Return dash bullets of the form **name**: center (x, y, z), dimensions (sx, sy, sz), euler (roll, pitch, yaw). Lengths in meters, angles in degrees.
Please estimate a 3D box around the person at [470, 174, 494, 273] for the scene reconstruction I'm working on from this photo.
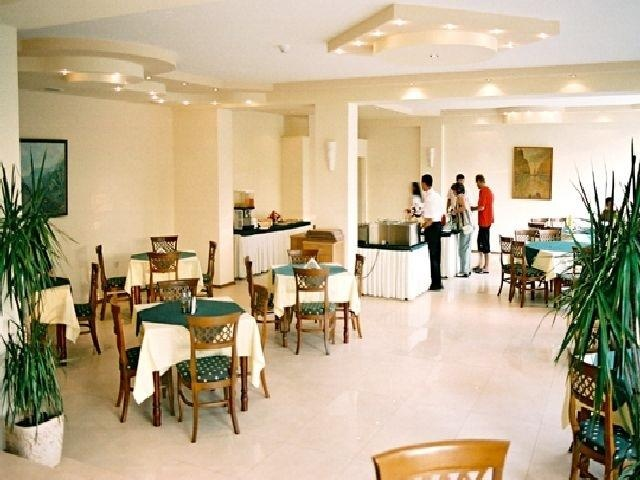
- **person**: center (3.839, -0.404, 12.165), dimensions (0.427, 2.264, 1.348), euler (2, 8, 16)

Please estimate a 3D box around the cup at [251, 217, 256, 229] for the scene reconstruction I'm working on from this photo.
- **cup**: center (-1.599, -0.420, 12.171), dimensions (0.137, 0.223, 0.295), euler (-1, 8, -8)

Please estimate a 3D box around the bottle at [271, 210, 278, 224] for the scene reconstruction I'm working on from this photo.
- **bottle**: center (-1.198, -0.584, 13.103), dimensions (0.229, 0.292, 0.619), euler (-1, 8, -6)

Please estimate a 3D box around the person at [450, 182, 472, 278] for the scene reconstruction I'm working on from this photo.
- **person**: center (3.080, -0.229, 11.275), dimensions (0.481, 2.122, 0.578), euler (2, 8, 15)

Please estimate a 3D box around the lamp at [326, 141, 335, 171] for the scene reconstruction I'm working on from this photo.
- **lamp**: center (0.204, -1.513, 9.298), dimensions (0.173, 0.525, 0.055), euler (-1, 8, -3)

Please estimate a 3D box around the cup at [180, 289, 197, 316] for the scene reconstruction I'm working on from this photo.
- **cup**: center (-1.444, 0.662, 5.493), dimensions (0.183, 0.272, 0.230), euler (3, 9, 10)

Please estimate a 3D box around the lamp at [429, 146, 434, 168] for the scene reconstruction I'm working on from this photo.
- **lamp**: center (2.993, -2.232, 13.811), dimensions (0.115, 0.515, 0.183), euler (7, 11, 43)

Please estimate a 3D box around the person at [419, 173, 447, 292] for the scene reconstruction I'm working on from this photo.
- **person**: center (2.224, -0.152, 10.115), dimensions (0.421, 2.251, 1.337), euler (2, 8, 13)
